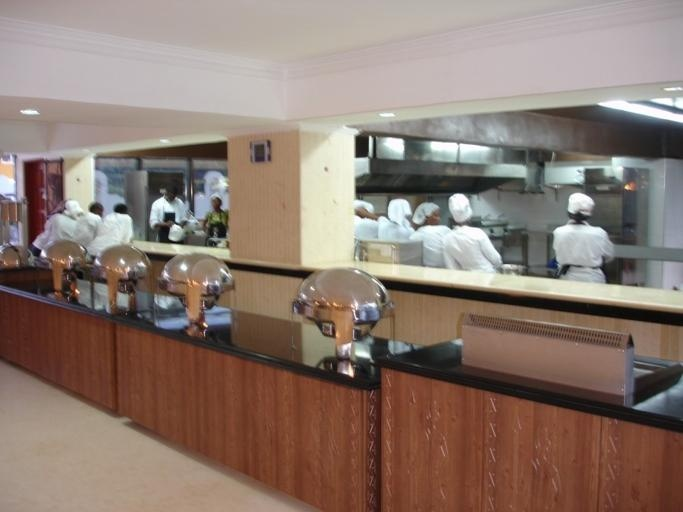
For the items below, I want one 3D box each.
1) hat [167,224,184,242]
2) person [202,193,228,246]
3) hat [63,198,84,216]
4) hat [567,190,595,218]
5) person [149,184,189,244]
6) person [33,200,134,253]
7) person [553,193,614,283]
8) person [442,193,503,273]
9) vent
[{"bbox_3d":[-2.800,-0.397,9.469,0.298,0.319,0.252,0,6,-9],"label":"hat"},{"bbox_3d":[-2.062,-0.405,9.213,0.392,1.195,0.390,0,2,-9],"label":"person"},{"bbox_3d":[-4.044,-0.729,8.403,0.313,0.259,0.164,0,6,-10],"label":"hat"},{"bbox_3d":[2.477,-0.563,5.779,0.215,0.234,0.295,-3,9,-1],"label":"hat"},{"bbox_3d":[-3.016,-0.758,9.732,0.649,0.963,0.467,-1,6,-19],"label":"person"},{"bbox_3d":[-3.977,-0.469,8.533,1.392,0.800,0.712,3,6,18],"label":"person"},{"bbox_3d":[2.458,-0.198,5.657,0.543,0.879,0.295,4,7,30],"label":"person"},{"bbox_3d":[1.442,-0.196,6.135,0.660,1.029,0.751,-12,-7,14],"label":"person"},{"bbox_3d":[1.323,-1.230,7.734,3.245,0.700,0.791,-4,8,-41],"label":"vent"}]
